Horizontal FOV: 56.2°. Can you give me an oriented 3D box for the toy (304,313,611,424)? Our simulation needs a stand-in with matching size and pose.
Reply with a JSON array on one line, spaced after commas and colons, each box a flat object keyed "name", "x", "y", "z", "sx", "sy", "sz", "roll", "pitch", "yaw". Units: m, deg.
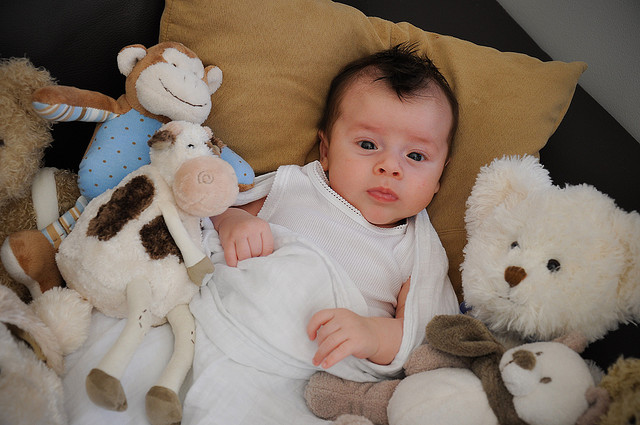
[{"name": "toy", "x": 0.348, "y": 0.383, "z": 1.553, "sx": 0.547, "sy": 0.210, "sz": 0.361, "roll": 2, "pitch": 8, "yaw": 7}]

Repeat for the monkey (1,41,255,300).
[{"name": "monkey", "x": -0.683, "y": -0.217, "z": 2.013, "sx": 0.719, "sy": 0.727, "sz": 0.816, "roll": -21, "pitch": 42, "yaw": -29}]
